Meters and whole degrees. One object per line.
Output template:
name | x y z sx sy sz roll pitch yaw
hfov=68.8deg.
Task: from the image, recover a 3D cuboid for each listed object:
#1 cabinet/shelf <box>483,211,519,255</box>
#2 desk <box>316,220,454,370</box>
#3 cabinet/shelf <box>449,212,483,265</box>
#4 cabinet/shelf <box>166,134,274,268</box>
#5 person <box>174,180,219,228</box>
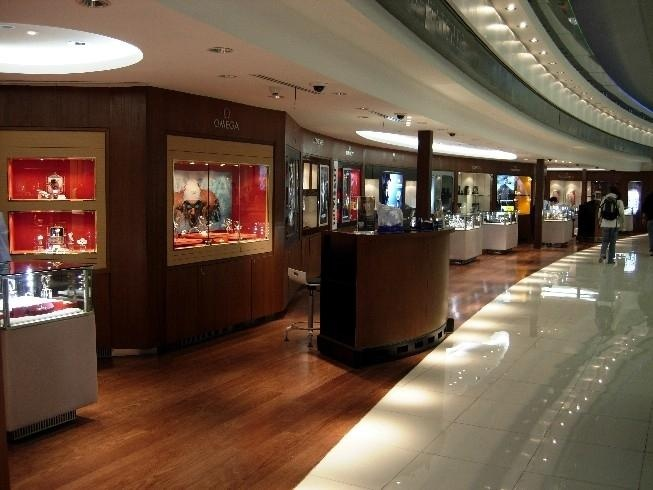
cabinet/shelf | 6.183 -0.501 17.056 1.254 1.894 1.775 1 3 27
desk | 0.735 0.486 6.872 2.314 1.969 1.418 -5 10 -39
cabinet/shelf | 4.039 -0.158 13.985 0.671 1.435 1.375 1 4 28
cabinet/shelf | -1.677 -0.687 7.191 0.662 1.841 1.984 1 2 31
person | -1.967 -0.491 7.117 0.734 0.824 0.387 -7 -14 -6
